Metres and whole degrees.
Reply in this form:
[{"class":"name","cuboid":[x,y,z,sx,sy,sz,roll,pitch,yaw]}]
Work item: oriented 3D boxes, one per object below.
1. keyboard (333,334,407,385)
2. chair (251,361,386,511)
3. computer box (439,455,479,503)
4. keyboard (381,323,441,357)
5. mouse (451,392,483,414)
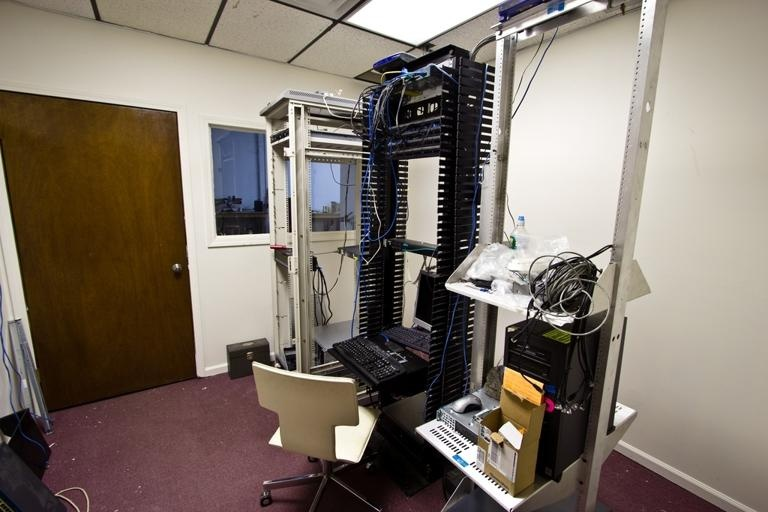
[{"class":"keyboard","cuboid":[-0.079,0.744,3.722,0.261,0.046,0.418,-11,20,-29]},{"class":"chair","cuboid":[-0.444,1.291,3.606,0.710,0.939,0.749,6,26,11]},{"class":"computer box","cuboid":[0.577,1.611,3.678,0.129,0.232,0.170,-41,0,-17]},{"class":"keyboard","cuboid":[0.191,0.651,3.967,0.197,0.083,0.335,-10,27,-36]},{"class":"mouse","cuboid":[0.513,0.898,3.211,0.142,0.048,0.093,-9,22,-23]}]
